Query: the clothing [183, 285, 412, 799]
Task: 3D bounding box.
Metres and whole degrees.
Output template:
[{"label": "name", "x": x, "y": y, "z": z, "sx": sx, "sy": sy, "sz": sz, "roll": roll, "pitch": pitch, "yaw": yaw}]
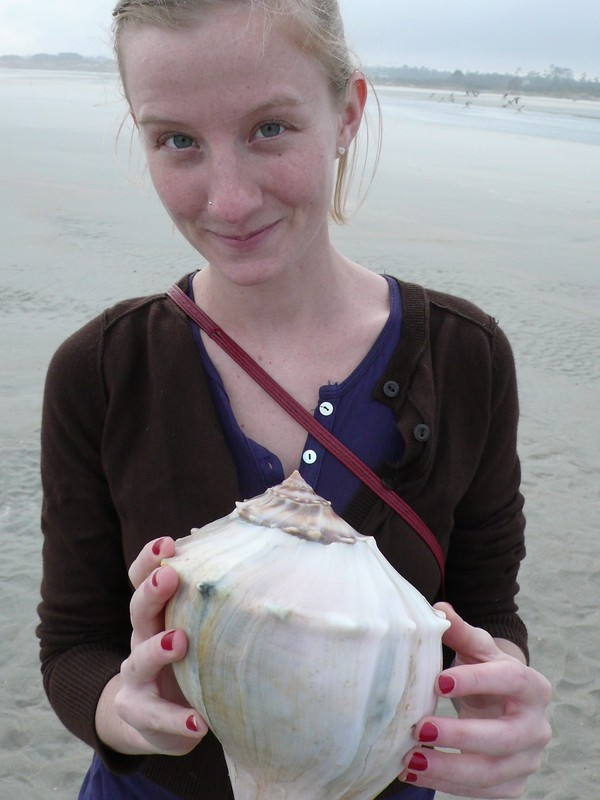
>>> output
[{"label": "clothing", "x": 0.097, "y": 0.262, "z": 1.855, "sx": 0.472, "sy": 1.119, "sz": 0.472, "roll": -8, "pitch": -22, "yaw": 20}]
